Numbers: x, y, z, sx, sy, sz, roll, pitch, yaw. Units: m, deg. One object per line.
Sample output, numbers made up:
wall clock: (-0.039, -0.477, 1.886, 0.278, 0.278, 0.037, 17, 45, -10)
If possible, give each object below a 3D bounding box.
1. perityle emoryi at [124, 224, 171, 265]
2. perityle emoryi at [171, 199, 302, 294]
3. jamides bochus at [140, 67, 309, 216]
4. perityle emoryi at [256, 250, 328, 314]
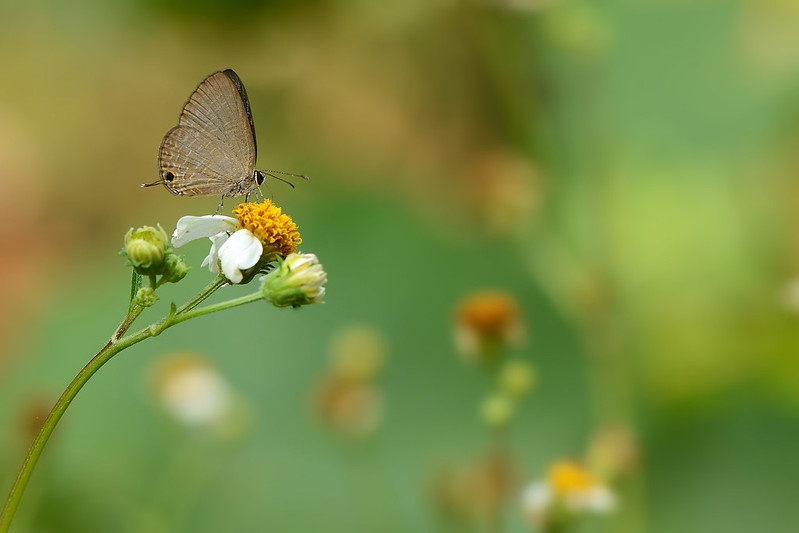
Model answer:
perityle emoryi: (-0.327, -0.032, 0.976, 0.045, 0.051, 0.053, -2, -81, -21)
perityle emoryi: (-0.211, -0.039, 1.073, 0.163, 0.094, 0.154, -7, -19, 42)
jamides bochus: (-0.261, -0.188, 1.147, 0.212, 0.156, 0.219, 7, -68, -1)
perityle emoryi: (-0.143, 0.024, 1.013, 0.075, 0.071, 0.051, -20, -34, 4)
